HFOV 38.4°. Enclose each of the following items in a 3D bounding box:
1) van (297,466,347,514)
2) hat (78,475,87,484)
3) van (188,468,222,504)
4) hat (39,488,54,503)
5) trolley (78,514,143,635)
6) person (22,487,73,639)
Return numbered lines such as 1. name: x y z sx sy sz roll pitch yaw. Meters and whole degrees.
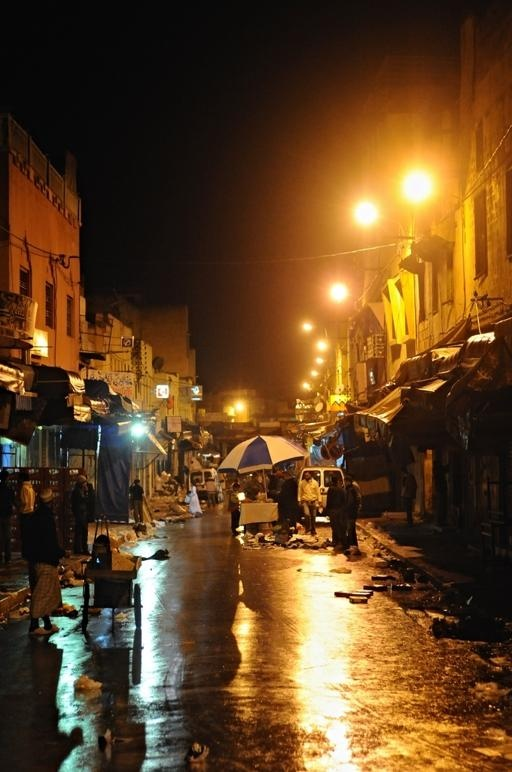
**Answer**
1. van: 2.354 3.779 26.284 1.312 1.382 2.254 0 1 2
2. hat: -4.384 2.337 18.511 0.139 0.189 0.196 2 -11 -8
3. van: -2.938 5.750 42.538 1.716 1.990 3.177 -1 2 0
4. hat: -2.815 1.442 9.898 0.187 0.209 0.054 -16 -22 1
5. trolley: -2.029 2.704 10.412 0.862 1.458 1.620 0 2 -2
6. person: -2.746 2.255 9.544 0.435 1.807 0.660 -2 -7 6
